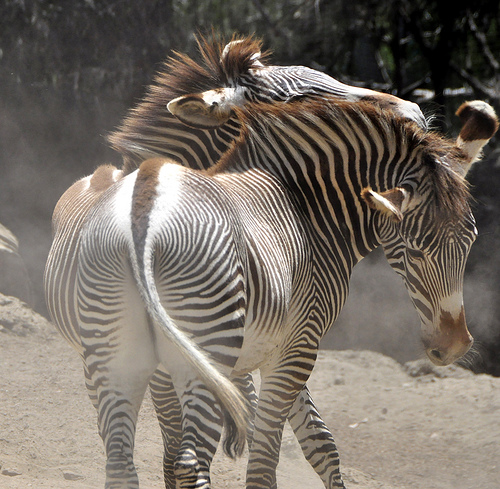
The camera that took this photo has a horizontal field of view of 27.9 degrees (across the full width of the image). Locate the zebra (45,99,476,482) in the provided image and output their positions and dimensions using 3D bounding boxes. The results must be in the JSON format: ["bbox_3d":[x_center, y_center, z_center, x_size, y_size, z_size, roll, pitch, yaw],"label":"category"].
[{"bbox_3d":[0.128,0.271,6.176,2.401,2.359,0.915,-3,13,-36],"label":"zebra"}]
